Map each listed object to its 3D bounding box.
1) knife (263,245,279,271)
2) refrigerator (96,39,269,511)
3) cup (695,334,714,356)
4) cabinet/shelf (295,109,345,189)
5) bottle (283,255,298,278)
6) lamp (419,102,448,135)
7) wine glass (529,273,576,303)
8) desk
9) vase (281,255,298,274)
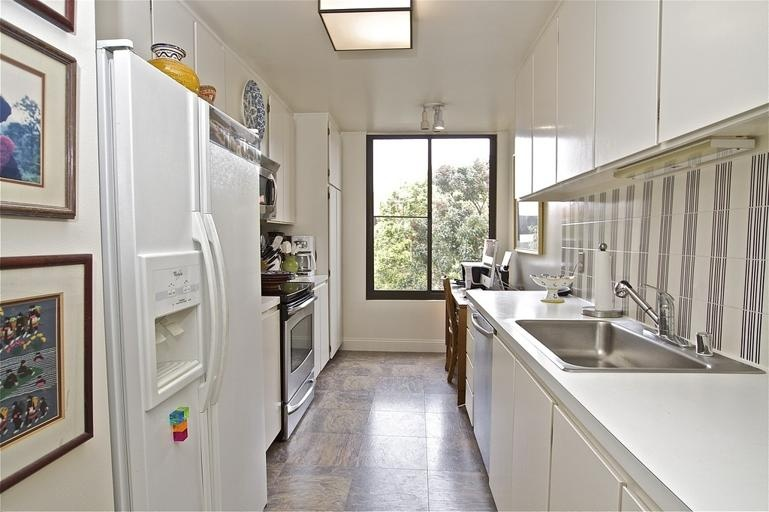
[{"bbox_3d":[-0.956,0.021,4.330,0.057,0.167,0.161,0,-38,25],"label":"knife"},{"bbox_3d":[-0.822,0.270,2.186,0.295,2.166,0.913,3,11,14],"label":"refrigerator"},{"bbox_3d":[1.269,0.357,2.049,0.079,0.096,0.059,3,6,19],"label":"cup"},{"bbox_3d":[-0.629,-1.018,4.831,0.222,0.632,0.691,0,4,6],"label":"cabinet/shelf"},{"bbox_3d":[-0.749,0.067,4.057,0.109,0.180,0.179,-2,10,-12],"label":"bottle"},{"bbox_3d":[0.431,-1.235,4.685,0.262,0.243,0.226,-1,1,-32],"label":"lamp"},{"bbox_3d":[1.071,0.185,3.183,0.201,0.121,0.213,0,-2,-19],"label":"wine glass"},{"bbox_3d":[0.588,0.578,3.317,0.312,0.574,0.954,1,2,4],"label":"desk"},{"bbox_3d":[-0.739,0.071,4.074,0.123,0.149,0.158,1,-6,-19],"label":"vase"}]
